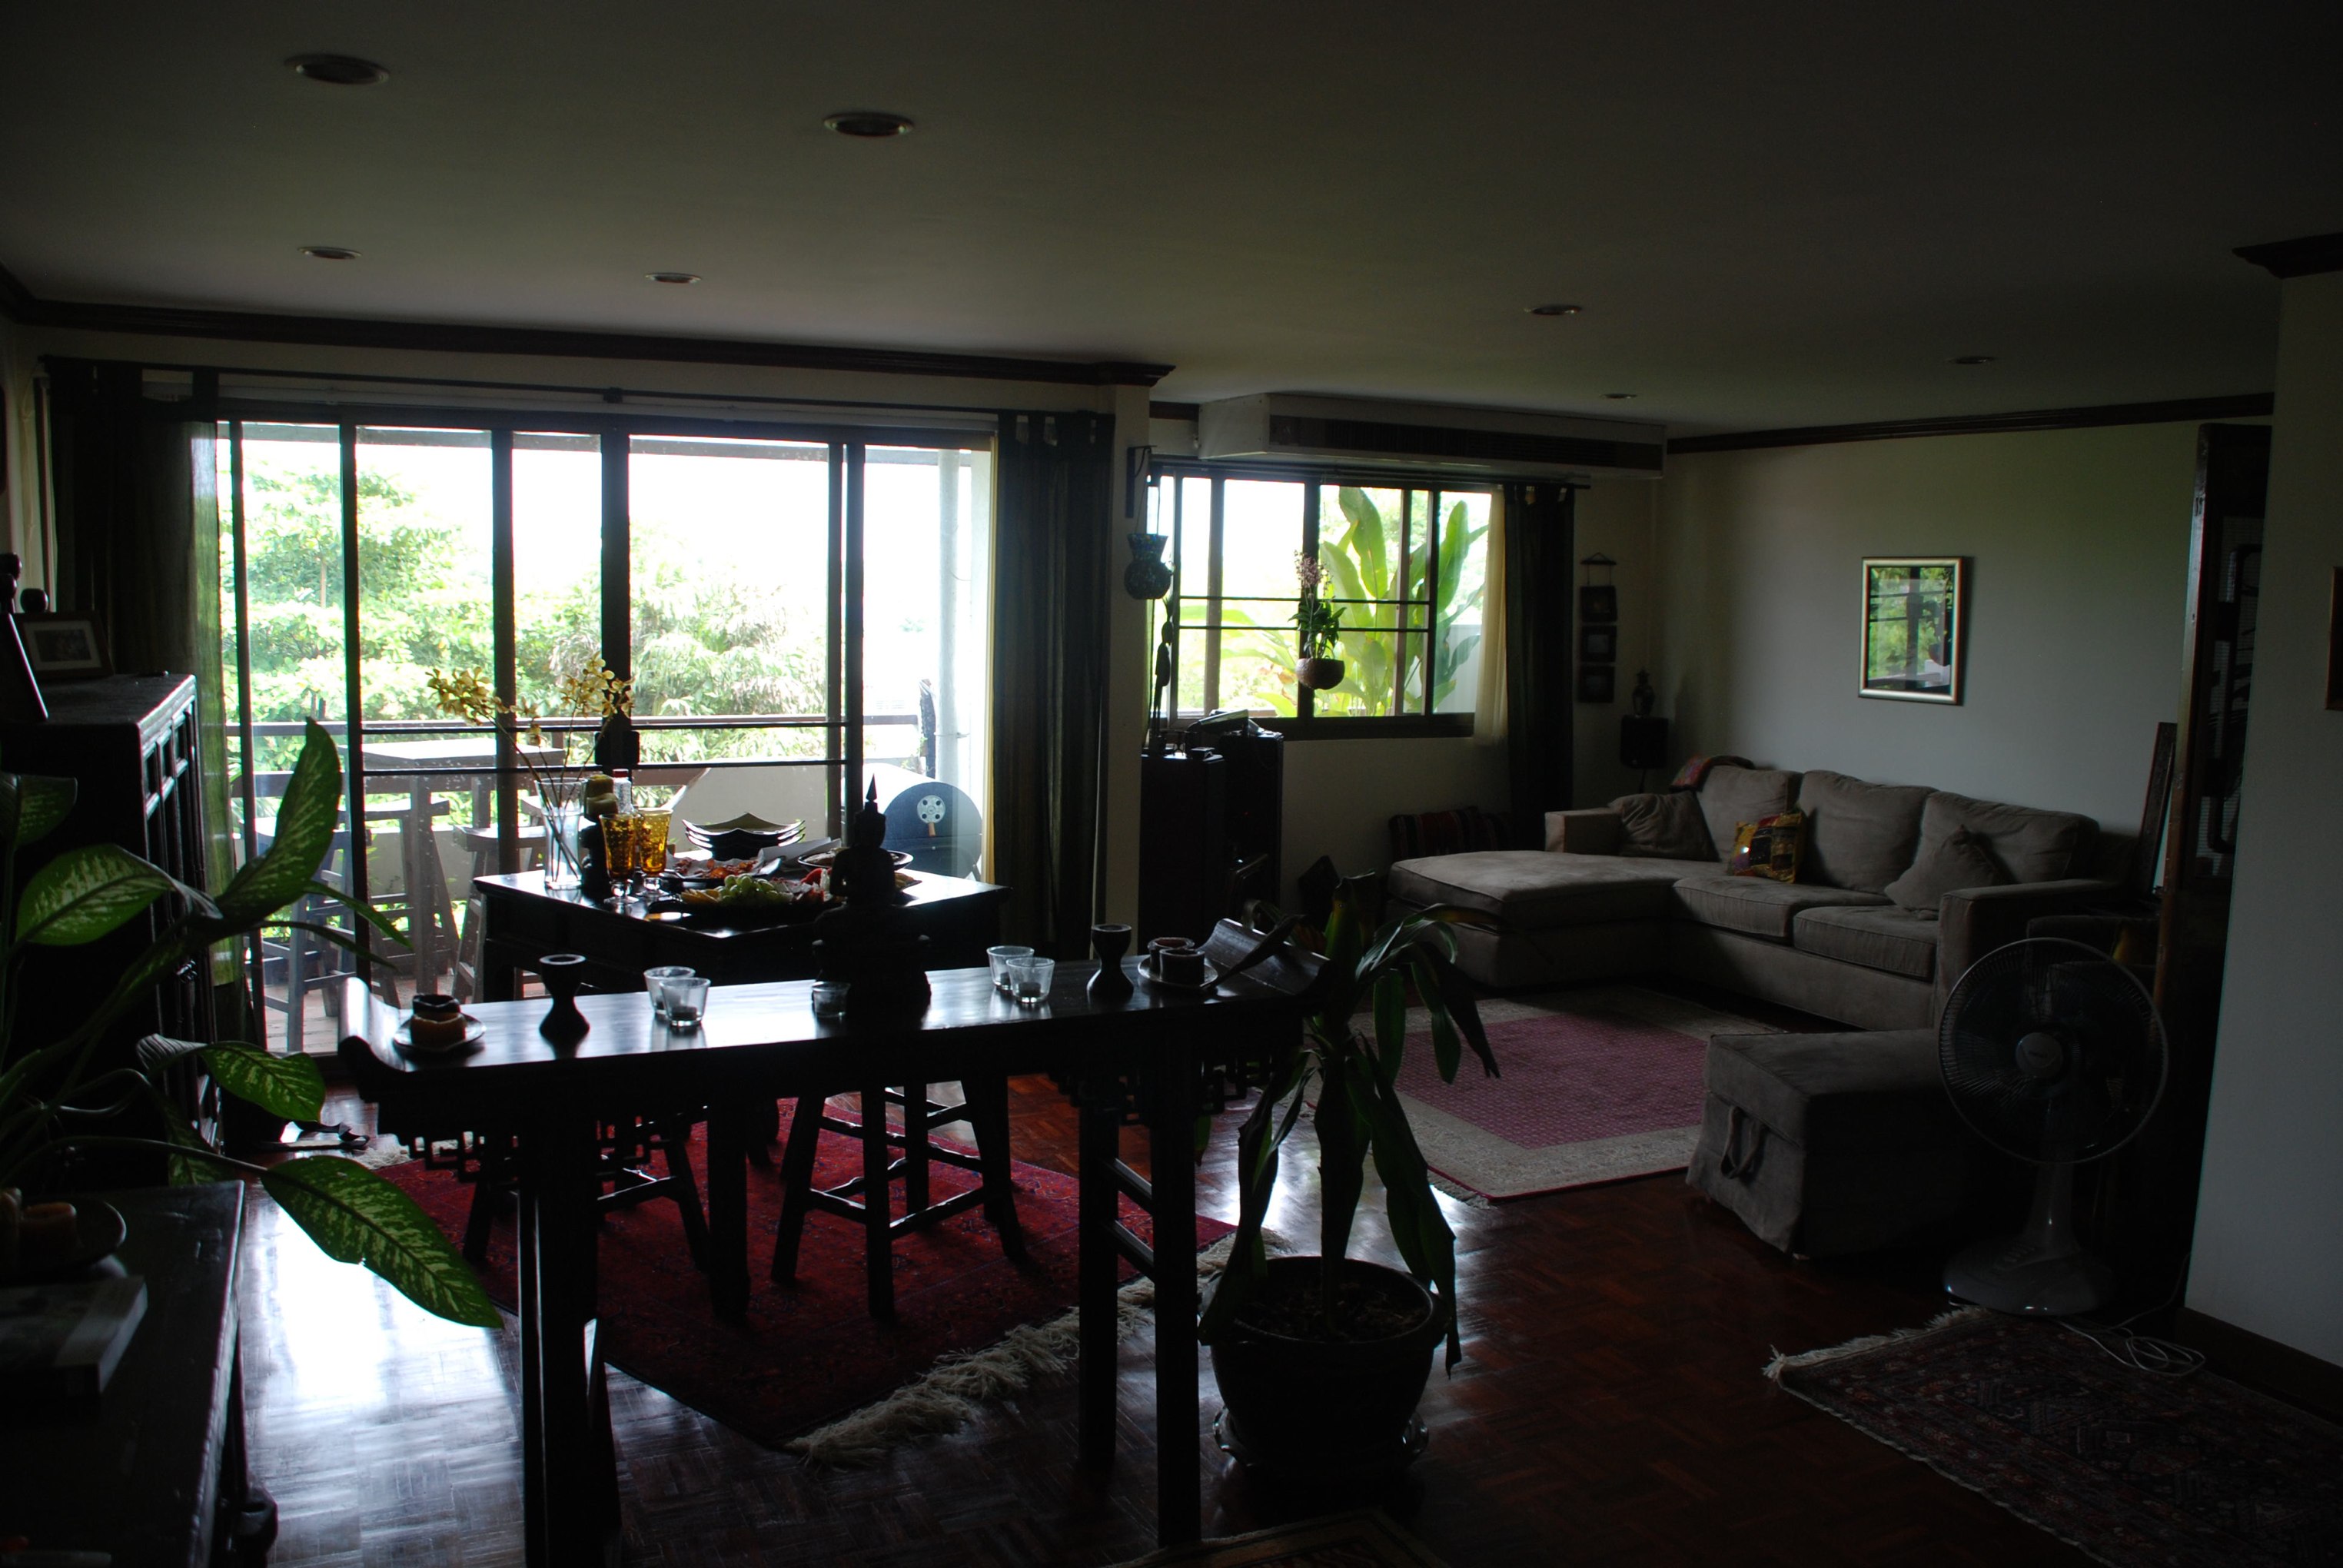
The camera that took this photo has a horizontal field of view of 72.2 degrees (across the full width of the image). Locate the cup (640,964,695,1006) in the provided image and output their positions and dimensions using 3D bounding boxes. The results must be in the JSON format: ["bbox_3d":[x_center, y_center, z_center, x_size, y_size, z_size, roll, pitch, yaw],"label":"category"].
[{"bbox_3d":[-1.192,0.477,3.851,0.099,0.070,0.099,1,-5,0],"label":"cup"}]

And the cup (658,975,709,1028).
[{"bbox_3d":[-1.158,0.513,3.804,0.113,0.086,0.113,1,-5,0],"label":"cup"}]

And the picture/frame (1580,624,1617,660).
[{"bbox_3d":[2.679,-0.888,10.068,0.352,0.218,0.059,-6,9,-41],"label":"picture/frame"}]

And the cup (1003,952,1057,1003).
[{"bbox_3d":[-0.356,0.487,4.074,0.123,0.091,0.123,1,-6,0],"label":"cup"}]

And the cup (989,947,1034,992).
[{"bbox_3d":[-0.406,0.467,4.052,0.112,0.083,0.112,2,0,0],"label":"cup"}]

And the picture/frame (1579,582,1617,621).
[{"bbox_3d":[2.670,-1.150,10.028,0.345,0.228,0.076,-6,9,-40],"label":"picture/frame"}]

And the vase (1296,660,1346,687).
[{"bbox_3d":[0.847,-0.637,8.968,0.175,0.094,0.173,-3,4,-30],"label":"vase"}]

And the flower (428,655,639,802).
[{"bbox_3d":[-2.415,-0.292,6.296,0.656,0.476,0.809,2,-4,-12],"label":"flower"}]

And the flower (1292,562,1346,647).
[{"bbox_3d":[0.837,-1.033,9.160,0.291,0.564,0.439,0,7,5],"label":"flower"}]

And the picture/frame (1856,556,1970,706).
[{"bbox_3d":[4.075,-0.856,8.772,0.103,1.017,0.740,-3,9,-30],"label":"picture/frame"}]

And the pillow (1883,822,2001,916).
[{"bbox_3d":[3.760,0.407,7.775,0.499,0.390,0.383,2,7,18],"label":"pillow"}]

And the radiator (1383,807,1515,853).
[{"bbox_3d":[1.636,0.276,9.499,0.392,0.118,0.389,-6,11,-23],"label":"radiator"}]

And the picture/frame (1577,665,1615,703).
[{"bbox_3d":[2.644,-0.648,10.062,0.231,0.162,0.030,-3,8,-29],"label":"picture/frame"}]
